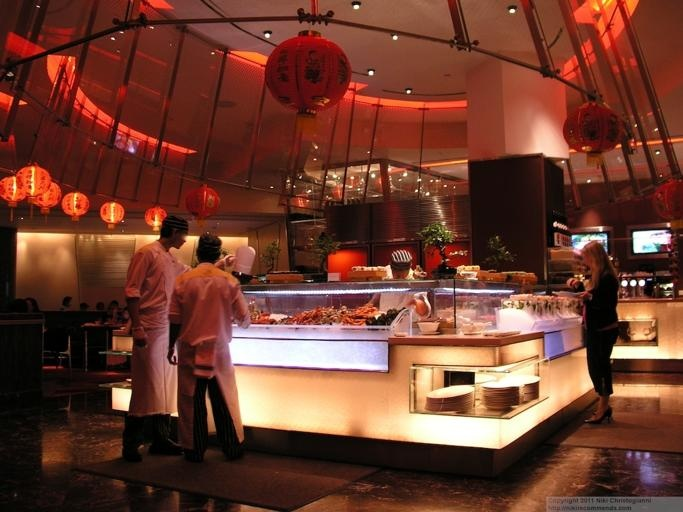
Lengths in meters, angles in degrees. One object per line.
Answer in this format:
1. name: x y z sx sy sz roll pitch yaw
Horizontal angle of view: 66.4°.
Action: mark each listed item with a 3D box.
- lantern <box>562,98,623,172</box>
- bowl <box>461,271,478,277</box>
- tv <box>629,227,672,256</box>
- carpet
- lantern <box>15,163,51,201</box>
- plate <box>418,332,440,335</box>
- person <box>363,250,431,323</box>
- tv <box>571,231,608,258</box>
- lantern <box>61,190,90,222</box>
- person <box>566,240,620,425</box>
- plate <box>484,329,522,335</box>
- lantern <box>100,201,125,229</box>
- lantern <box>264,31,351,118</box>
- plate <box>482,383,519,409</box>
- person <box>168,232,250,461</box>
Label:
1. lantern: 2.918 -1.478 6.551 0.849 0.884 0.787 -1 0 2
2. bowl: 1.284 0.178 5.132 0.212 0.067 0.171 0 -4 -12
3. tv: 7.904 -0.345 13.286 0.862 0.531 0.088 -1 -12 26
4. carpet: -0.868 1.765 4.272 1.966 0.043 1.109 -3 -5 29
5. lantern: -4.449 -1.069 7.547 0.522 0.521 0.503 0 -5 -2
6. plate: 0.804 0.690 4.697 0.178 0.016 0.118 -1 -4 -2
7. person: 0.552 0.253 5.120 0.584 0.679 0.994 -1 -4 2
8. tv: 4.830 -0.245 10.151 0.817 0.501 0.079 0 -29 8
9. lantern: -5.089 -0.954 9.952 0.440 0.499 0.485 1 -5 -27
10. person: 2.865 0.812 5.739 0.401 1.969 0.319 -3 -6 26
11. plate: 1.391 0.666 4.538 0.230 0.048 0.559 -3 -4 26
12. lantern: -4.662 -0.905 10.622 0.428 0.374 0.306 -4 -6 36
13. lantern: -0.269 -1.539 4.529 0.736 0.734 0.731 6 14 14
14. plate: 1.304 1.143 4.269 0.232 0.114 0.264 -1 -5 13
15. person: -1.152 0.923 4.564 0.673 1.707 0.311 1 -5 -18
